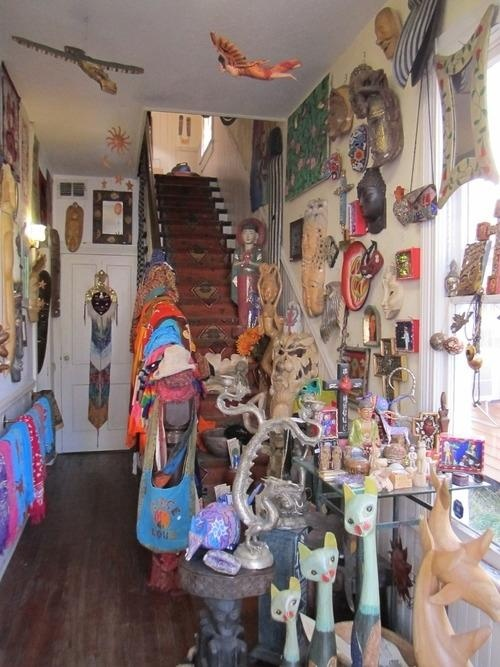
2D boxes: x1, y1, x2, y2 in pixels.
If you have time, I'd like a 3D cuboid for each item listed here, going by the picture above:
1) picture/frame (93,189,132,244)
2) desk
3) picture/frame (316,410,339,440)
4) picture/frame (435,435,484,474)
[{"bbox_3d":[-1.659,-1.407,5.993,0.473,0.715,0.071,1,-14,-14],"label":"picture/frame"},{"bbox_3d":[0.474,0.664,1.890,0.554,0.593,0.575,0,2,-17],"label":"desk"},{"bbox_3d":[0.308,0.349,1.914,0.061,0.117,0.179,0,-2,15],"label":"picture/frame"},{"bbox_3d":[0.704,0.409,1.651,0.118,0.110,0.042,0,-6,37],"label":"picture/frame"}]
